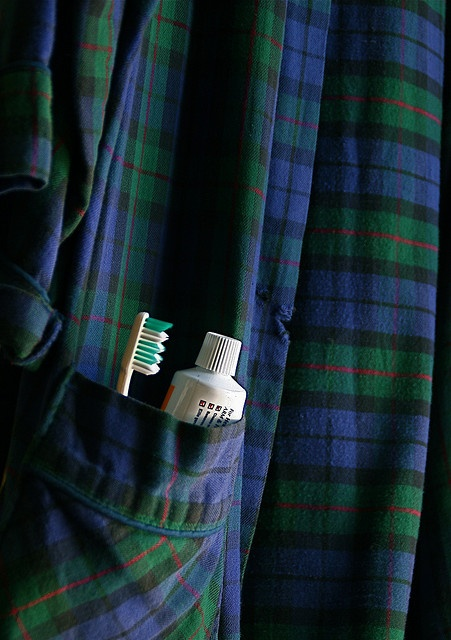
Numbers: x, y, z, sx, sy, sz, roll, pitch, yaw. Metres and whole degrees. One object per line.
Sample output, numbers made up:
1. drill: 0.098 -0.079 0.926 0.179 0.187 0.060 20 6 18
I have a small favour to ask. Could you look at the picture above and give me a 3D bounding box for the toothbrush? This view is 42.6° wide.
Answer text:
1. toothbrush: -0.070 0.043 0.480 0.029 0.100 0.014 22 19 9
